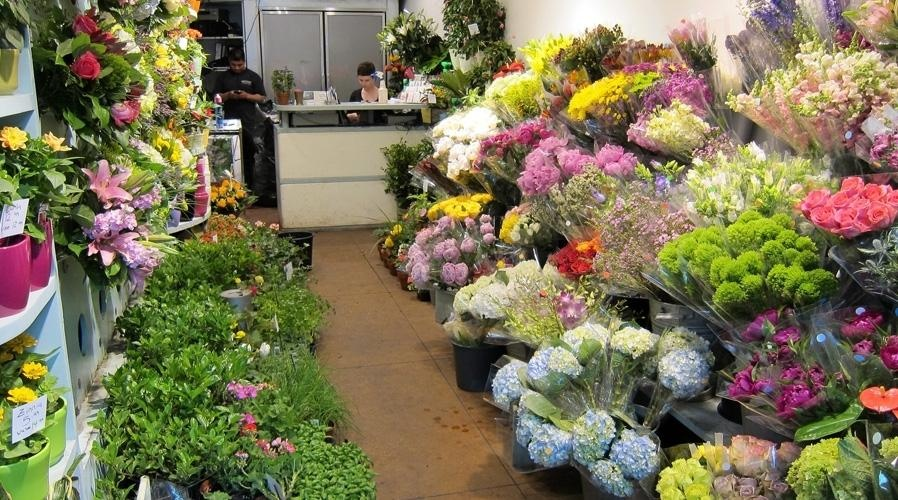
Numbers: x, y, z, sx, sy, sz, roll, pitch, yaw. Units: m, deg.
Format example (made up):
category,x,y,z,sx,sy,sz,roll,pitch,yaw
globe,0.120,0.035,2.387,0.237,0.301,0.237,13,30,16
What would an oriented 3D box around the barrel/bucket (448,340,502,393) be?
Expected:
category,x,y,z,sx,sy,sz,roll,pitch,yaw
barrel/bucket,0.181,0.792,4.135,0.347,0.254,0.362,2,2,0
